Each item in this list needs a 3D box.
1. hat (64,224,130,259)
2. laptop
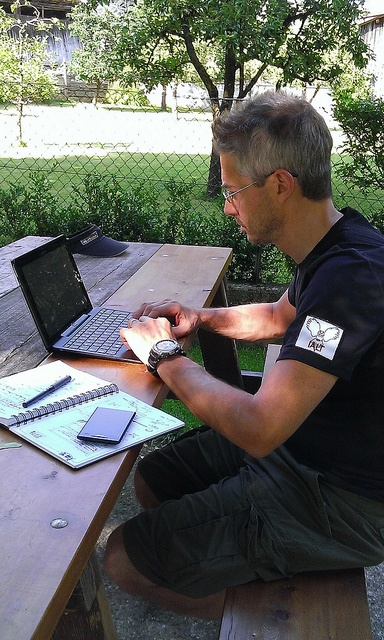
[{"bbox_3d":[-0.503,-0.406,2.491,0.296,0.117,0.191,7,23,12],"label":"hat"},{"bbox_3d":[-0.405,-0.052,1.529,0.295,0.422,0.390,-17,14,18],"label":"laptop"}]
